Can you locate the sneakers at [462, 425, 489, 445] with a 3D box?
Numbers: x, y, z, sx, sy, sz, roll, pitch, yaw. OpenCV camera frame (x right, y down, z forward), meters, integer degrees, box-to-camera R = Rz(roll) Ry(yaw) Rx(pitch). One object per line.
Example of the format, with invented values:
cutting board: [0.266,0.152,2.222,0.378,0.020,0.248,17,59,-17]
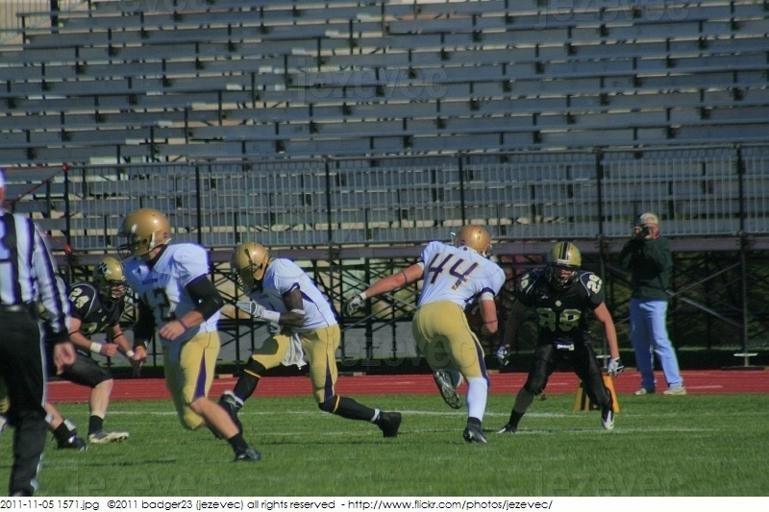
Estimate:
sneakers: [1.476,3.160,32.157,0.558,0.224,0.197,20,-27,-38]

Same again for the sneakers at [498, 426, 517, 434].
sneakers: [2.135,3.146,32.960,0.419,0.151,0.117,5,5,-6]

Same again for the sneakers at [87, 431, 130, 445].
sneakers: [-4.901,3.273,32.862,0.701,0.259,0.236,-6,-9,0]

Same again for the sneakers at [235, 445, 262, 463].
sneakers: [-2.357,3.412,31.428,0.535,0.199,0.172,-3,1,5]

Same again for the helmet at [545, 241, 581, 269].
helmet: [3.168,0.007,33.144,0.474,0.418,0.552,11,18,11]

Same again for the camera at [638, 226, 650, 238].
camera: [4.937,-0.386,35.896,0.184,0.218,0.079,1,3,2]

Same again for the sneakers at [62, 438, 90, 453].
sneakers: [-5.398,3.329,32.429,0.386,0.198,0.166,26,18,8]

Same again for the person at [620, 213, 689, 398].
person: [5.053,0.997,35.844,1.212,3.440,0.637,2,5,36]

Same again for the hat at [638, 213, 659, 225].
hat: [5.082,-0.633,36.074,0.323,0.139,0.375,3,0,15]

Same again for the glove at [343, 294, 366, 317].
glove: [-0.555,0.896,32.802,0.362,0.374,0.420,-1,4,-1]
